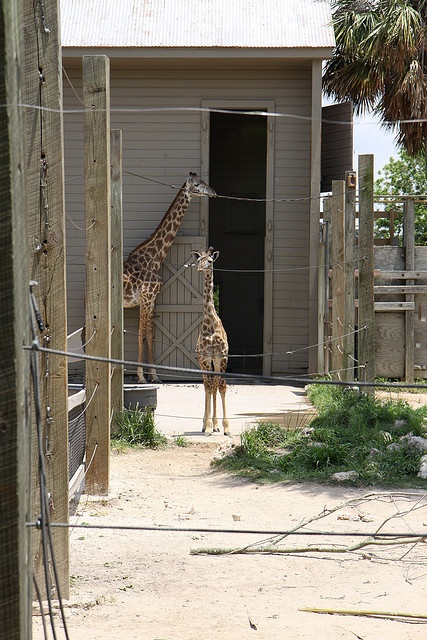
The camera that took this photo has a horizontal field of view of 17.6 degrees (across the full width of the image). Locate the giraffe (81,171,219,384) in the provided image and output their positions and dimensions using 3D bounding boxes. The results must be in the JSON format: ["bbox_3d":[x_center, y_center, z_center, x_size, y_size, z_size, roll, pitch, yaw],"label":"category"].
[{"bbox_3d":[-0.502,-0.390,13.654,0.772,2.082,0.736,0,2,-4],"label":"giraffe"}]
